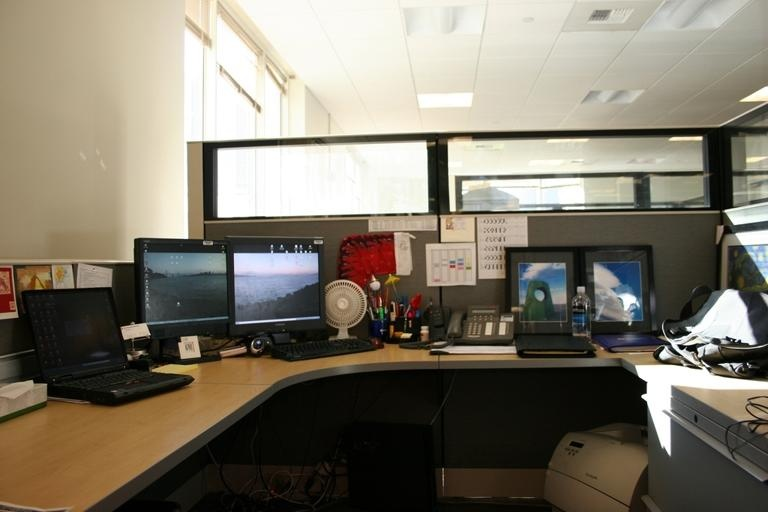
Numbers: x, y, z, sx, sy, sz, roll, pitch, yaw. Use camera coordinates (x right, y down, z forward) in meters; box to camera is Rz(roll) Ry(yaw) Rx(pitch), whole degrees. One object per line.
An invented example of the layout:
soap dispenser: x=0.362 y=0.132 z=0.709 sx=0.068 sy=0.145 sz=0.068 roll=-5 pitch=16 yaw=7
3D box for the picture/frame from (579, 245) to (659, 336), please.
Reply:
picture/frame: x=1.304 y=0.215 z=3.121 sx=0.510 sy=0.586 sz=0.041 roll=-2 pitch=-3 yaw=1

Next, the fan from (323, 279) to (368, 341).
fan: x=-0.227 y=0.312 z=3.166 sx=0.363 sy=0.414 sz=0.137 roll=0 pitch=-3 yaw=-5

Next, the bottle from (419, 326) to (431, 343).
bottle: x=0.223 y=0.434 z=3.073 sx=0.073 sy=0.100 sz=0.071 roll=1 pitch=2 yaw=0

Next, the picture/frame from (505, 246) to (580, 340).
picture/frame: x=0.892 y=0.229 z=3.115 sx=0.531 sy=0.659 sz=0.058 roll=0 pitch=-6 yaw=4

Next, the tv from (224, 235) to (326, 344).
tv: x=-0.607 y=0.190 z=3.018 sx=0.614 sy=0.576 sz=0.087 roll=-1 pitch=-1 yaw=-16

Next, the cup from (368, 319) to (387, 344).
cup: x=-0.032 y=0.416 z=3.122 sx=0.117 sy=0.114 sz=0.105 roll=1 pitch=-3 yaw=7

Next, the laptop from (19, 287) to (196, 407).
laptop: x=-1.248 y=0.384 z=2.516 sx=0.627 sy=0.438 sz=0.461 roll=-2 pitch=-3 yaw=26

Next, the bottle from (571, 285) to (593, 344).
bottle: x=1.088 y=0.322 z=3.101 sx=0.096 sy=0.231 sz=0.098 roll=-3 pitch=2 yaw=0
